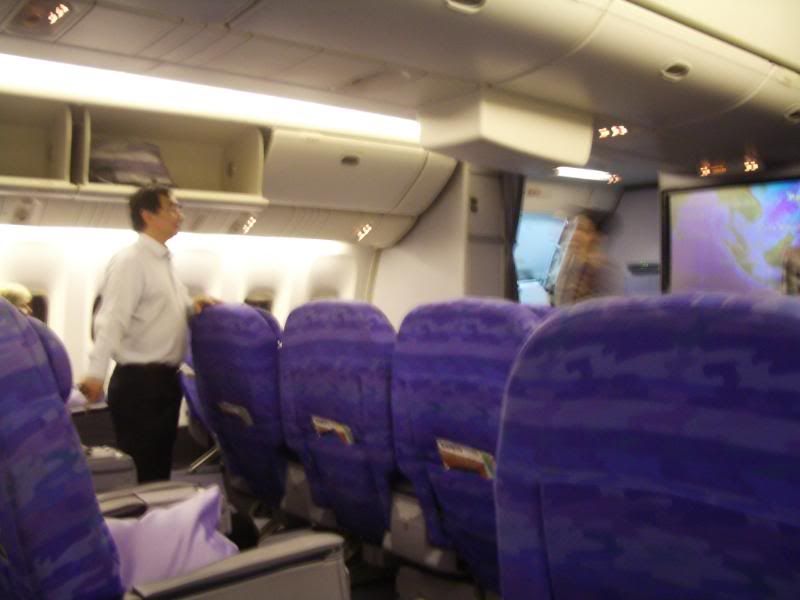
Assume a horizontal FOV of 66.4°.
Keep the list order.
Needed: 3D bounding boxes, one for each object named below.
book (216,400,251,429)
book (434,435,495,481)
[{"bbox_3d":[-0.618,0.405,2.277,0.061,0.062,0.210,-17,21,-37],"label":"book"},{"bbox_3d":[0.167,0.398,1.545,0.101,0.096,0.040,12,29,33],"label":"book"}]
